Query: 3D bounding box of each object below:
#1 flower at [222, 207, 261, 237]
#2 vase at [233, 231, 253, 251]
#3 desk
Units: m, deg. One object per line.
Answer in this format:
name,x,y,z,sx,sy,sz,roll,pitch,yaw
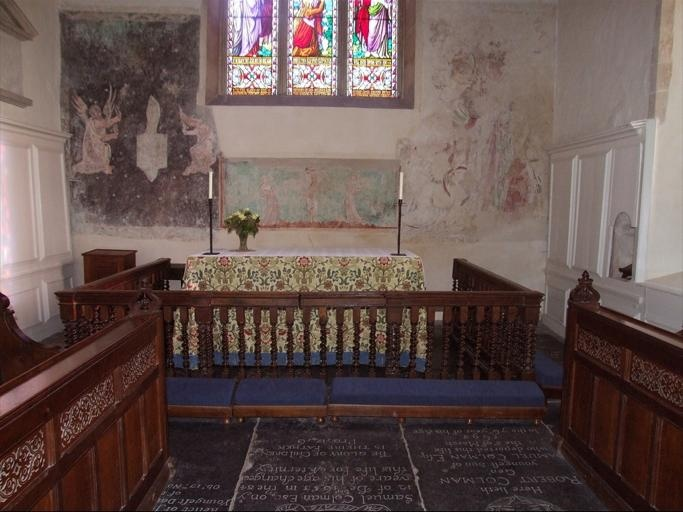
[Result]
flower,-1.283,-0.456,7.066,0.451,0.433,0.496,2,14,-6
vase,-1.245,-0.207,7.024,0.242,0.297,0.252,1,7,-4
desk,-0.474,0.657,6.312,2.858,1.388,0.907,-2,8,3
